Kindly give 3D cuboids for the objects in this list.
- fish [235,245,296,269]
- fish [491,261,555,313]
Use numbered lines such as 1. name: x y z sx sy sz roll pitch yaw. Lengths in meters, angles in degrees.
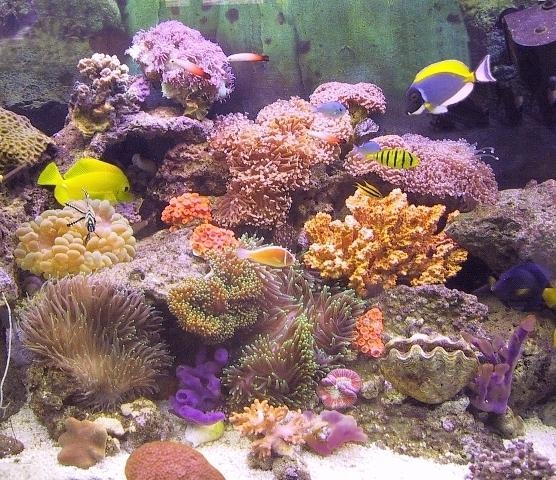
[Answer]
1. fish: -0.116 0.134 4.667 0.328 0.094 0.153 7 53 8
2. fish: 1.925 0.349 4.699 0.417 0.286 0.243 9 32 14
